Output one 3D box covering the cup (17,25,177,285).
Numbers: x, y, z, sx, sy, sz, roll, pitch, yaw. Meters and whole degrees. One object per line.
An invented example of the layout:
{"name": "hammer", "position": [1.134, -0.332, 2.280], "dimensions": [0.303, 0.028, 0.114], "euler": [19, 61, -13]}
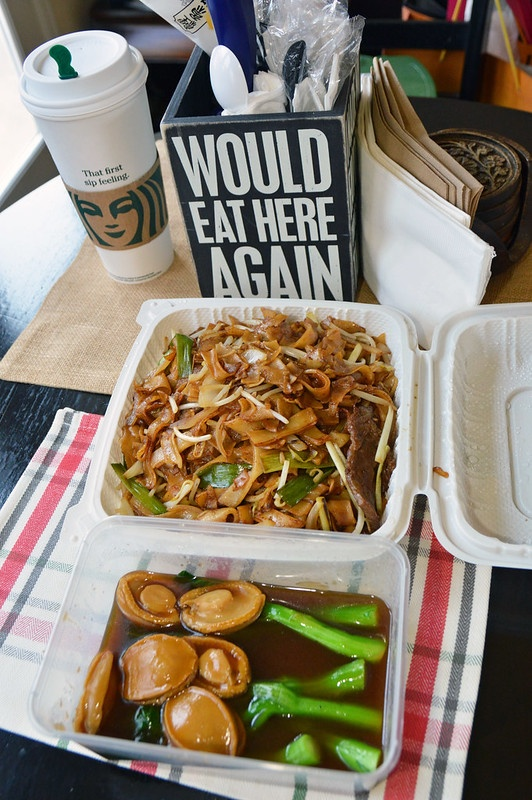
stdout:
{"name": "cup", "position": [-0.265, -0.397, 1.080], "dimensions": [0.219, 0.350, 0.221], "euler": [-6, 38, 5]}
